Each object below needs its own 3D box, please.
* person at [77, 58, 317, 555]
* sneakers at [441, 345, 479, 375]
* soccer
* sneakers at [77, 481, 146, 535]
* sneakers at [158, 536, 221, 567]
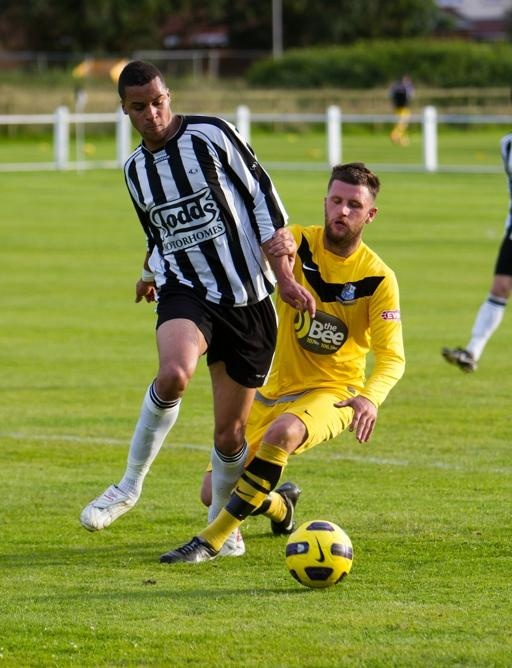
[{"bbox_3d":[-0.237,-0.101,3.855,0.675,1.721,0.597,0,14,4],"label":"person"},{"bbox_3d":[1.371,0.184,7.165,0.260,0.084,0.116,34,63,-9],"label":"sneakers"},{"bbox_3d":[0.214,0.760,3.684,0.249,0.196,0.194,1,58,1],"label":"soccer"},{"bbox_3d":[-0.530,0.628,3.916,0.131,0.093,0.241,19,30,33],"label":"sneakers"},{"bbox_3d":[-0.222,0.786,3.925,0.243,0.084,0.073,-4,41,-22],"label":"sneakers"}]
